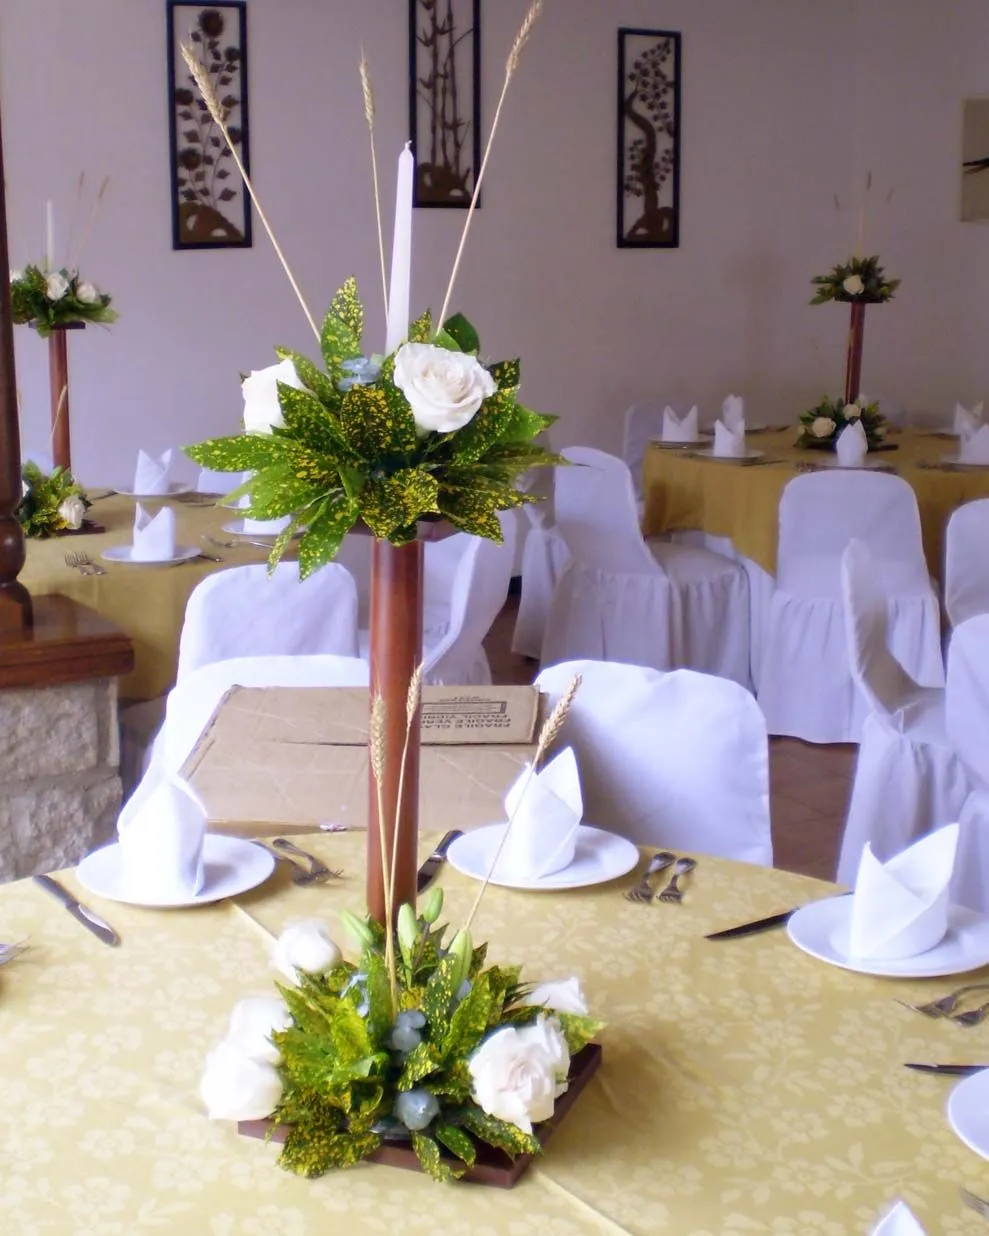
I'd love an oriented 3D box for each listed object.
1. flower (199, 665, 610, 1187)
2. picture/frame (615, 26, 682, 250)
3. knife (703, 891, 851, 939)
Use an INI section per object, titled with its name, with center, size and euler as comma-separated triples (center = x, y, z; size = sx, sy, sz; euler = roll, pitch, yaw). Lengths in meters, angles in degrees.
[flower]
center = -0.056, 0.193, 0.728
size = 0.248, 0.325, 0.239
euler = 2, 10, 6
[picture/frame]
center = 0.800, -2.498, 5.807
size = 0.409, 1.106, 0.043
euler = -5, 12, -26
[knife]
center = 0.260, 0.282, 1.087
size = 0.113, 0.018, 0.030
euler = -24, 12, -19
